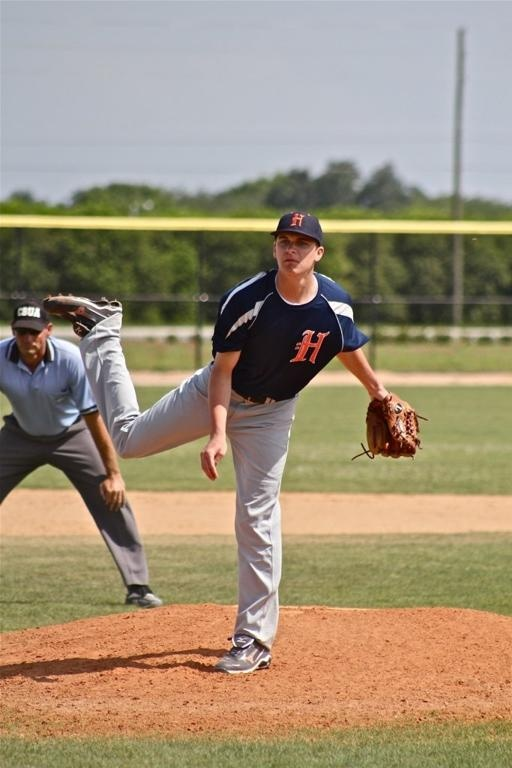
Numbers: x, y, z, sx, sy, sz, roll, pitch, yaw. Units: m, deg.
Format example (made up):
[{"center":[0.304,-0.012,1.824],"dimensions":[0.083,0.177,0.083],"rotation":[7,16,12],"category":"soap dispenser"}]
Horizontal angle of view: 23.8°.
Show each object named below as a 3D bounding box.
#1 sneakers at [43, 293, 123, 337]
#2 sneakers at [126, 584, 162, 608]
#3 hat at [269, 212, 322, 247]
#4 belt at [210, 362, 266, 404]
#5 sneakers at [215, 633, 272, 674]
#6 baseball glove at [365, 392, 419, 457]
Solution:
[{"center":[-0.741,-0.295,5.276],"dimensions":[0.409,0.172,0.142],"rotation":[3,-12,-10],"category":"sneakers"},{"center":[-0.522,1.008,5.733],"dimensions":[0.192,0.119,0.089],"rotation":[0,1,0],"category":"sneakers"},{"center":[0.163,-0.574,4.526],"dimensions":[0.174,0.127,0.212],"rotation":[0,4,-1],"category":"hat"},{"center":[-0.064,0.002,4.548],"dimensions":[0.201,0.142,0.151],"rotation":[1,4,-16],"category":"belt"},{"center":[-0.028,1.039,4.658],"dimensions":[0.091,0.105,0.252],"rotation":[4,-2,34],"category":"sneakers"},{"center":[0.589,0.180,5.260],"dimensions":[0.242,0.259,0.133],"rotation":[-10,6,3],"category":"baseball glove"}]
